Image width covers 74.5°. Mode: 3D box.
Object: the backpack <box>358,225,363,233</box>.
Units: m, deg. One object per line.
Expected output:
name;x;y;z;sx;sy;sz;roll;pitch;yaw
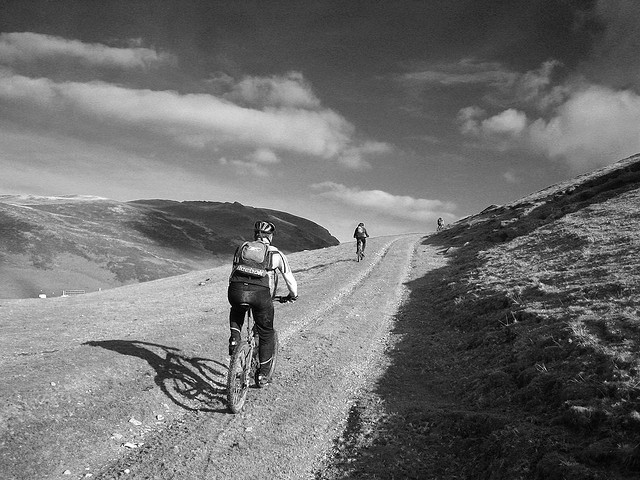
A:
backpack;2.933;-0.802;30.195;0.328;0.442;0.346;3;4;6
